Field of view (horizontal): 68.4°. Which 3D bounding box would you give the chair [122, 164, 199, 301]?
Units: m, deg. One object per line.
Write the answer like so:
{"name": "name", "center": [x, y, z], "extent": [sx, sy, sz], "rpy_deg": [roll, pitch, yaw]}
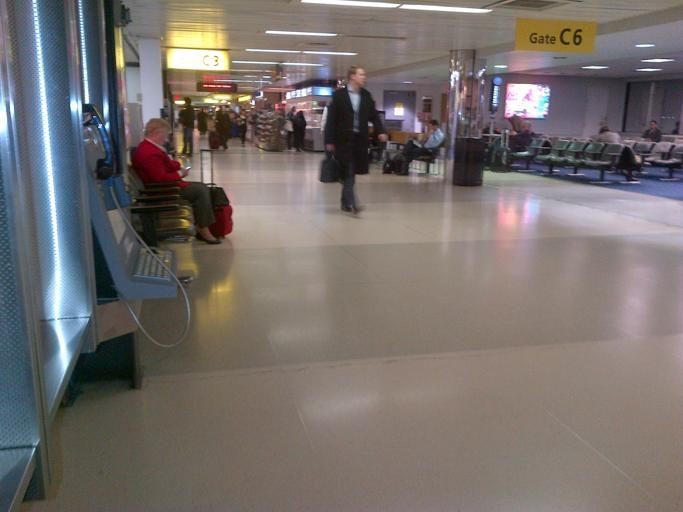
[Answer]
{"name": "chair", "center": [-1.652, -0.386, 4.681], "extent": [0.534, 0.949, 1.827], "rpy_deg": [-5, 17, -16]}

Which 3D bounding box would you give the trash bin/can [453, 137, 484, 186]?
{"name": "trash bin/can", "center": [2.775, -2.134, 10.996], "extent": [0.374, 0.597, 0.360], "rpy_deg": [-2, 21, 47]}

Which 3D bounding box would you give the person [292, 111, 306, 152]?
{"name": "person", "center": [-1.782, -5.454, 21.600], "extent": [0.519, 1.612, 0.512], "rpy_deg": [-2, 17, -6]}

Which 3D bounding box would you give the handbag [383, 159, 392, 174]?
{"name": "handbag", "center": [1.212, -2.363, 13.082], "extent": [0.237, 0.397, 0.289], "rpy_deg": [6, 60, -1]}

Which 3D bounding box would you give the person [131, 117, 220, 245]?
{"name": "person", "center": [-1.645, -0.741, 4.984], "extent": [0.759, 1.222, 0.514], "rpy_deg": [-4, 25, -20]}

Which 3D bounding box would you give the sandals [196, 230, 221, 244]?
{"name": "sandals", "center": [-1.478, -0.219, 5.587], "extent": [0.357, 0.143, 0.118], "rpy_deg": [2, 13, 6]}

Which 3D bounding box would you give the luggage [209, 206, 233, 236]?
{"name": "luggage", "center": [-1.371, -0.424, 5.764], "extent": [0.253, 0.341, 0.206], "rpy_deg": [7, 18, 8]}

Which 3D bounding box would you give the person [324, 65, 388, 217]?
{"name": "person", "center": [0.170, -1.674, 7.289], "extent": [0.845, 2.061, 0.381], "rpy_deg": [-11, 20, -32]}

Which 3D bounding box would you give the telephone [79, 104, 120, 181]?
{"name": "telephone", "center": [-1.234, -0.633, 2.508], "extent": [0.153, 0.273, 0.406], "rpy_deg": [-13, 36, -18]}

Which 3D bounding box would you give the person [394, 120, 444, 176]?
{"name": "person", "center": [2.054, -2.843, 13.013], "extent": [0.993, 1.529, 0.669], "rpy_deg": [12, 19, -15]}
